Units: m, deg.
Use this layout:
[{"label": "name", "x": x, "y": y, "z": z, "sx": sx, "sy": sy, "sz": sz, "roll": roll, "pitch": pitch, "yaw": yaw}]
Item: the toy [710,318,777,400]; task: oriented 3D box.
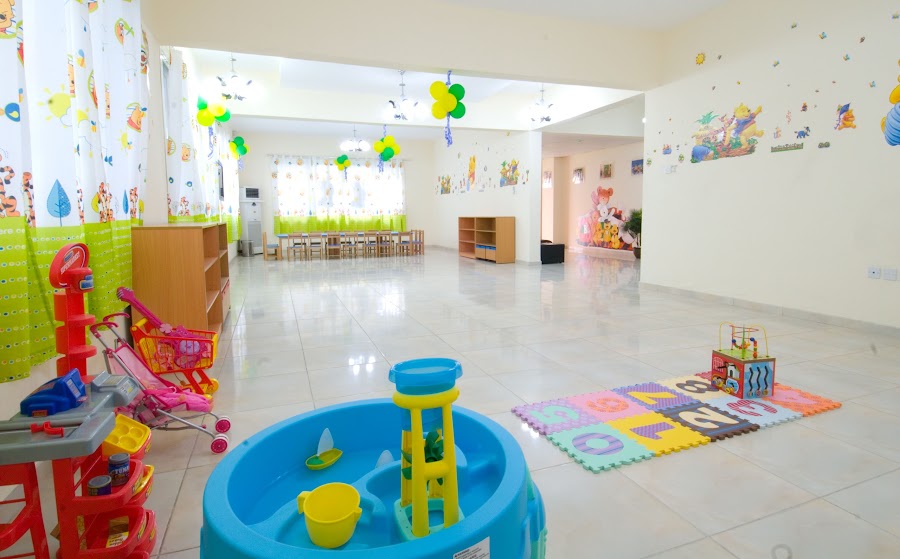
[{"label": "toy", "x": 2.593, "y": 0.720, "z": 4.657, "sx": 0.422, "sy": 0.639, "sz": 0.525, "roll": -1, "pitch": 3, "yaw": -27}]

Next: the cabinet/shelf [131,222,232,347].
[{"label": "cabinet/shelf", "x": -2.562, "y": 0.046, "z": 4.972, "sx": 0.371, "sy": 0.745, "sz": 1.261, "roll": -3, "pitch": 12, "yaw": -16}]

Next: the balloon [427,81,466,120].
[{"label": "balloon", "x": -0.047, "y": -2.641, "z": 7.935, "sx": 0.675, "sy": 0.686, "sz": 0.278, "roll": -4, "pitch": 14, "yaw": -7}]

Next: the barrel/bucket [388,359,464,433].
[{"label": "barrel/bucket", "x": -0.104, "y": 0.580, "z": 2.782, "sx": 0.373, "sy": 0.288, "sz": 0.376, "roll": -3, "pitch": 7, "yaw": 0}]

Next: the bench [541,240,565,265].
[{"label": "bench", "x": 2.306, "y": -0.635, "z": 12.093, "sx": 0.516, "sy": 0.397, "sz": 0.535, "roll": -2, "pitch": 6, "yaw": -9}]

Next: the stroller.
[{"label": "stroller", "x": -2.132, "y": 0.680, "z": 4.137, "sx": 1.174, "sy": 1.358, "sz": 0.857, "roll": 0, "pitch": 6, "yaw": -15}]

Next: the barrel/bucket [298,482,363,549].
[{"label": "barrel/bucket", "x": -0.666, "y": 1.266, "z": 2.843, "sx": 0.381, "sy": 0.246, "sz": 0.278, "roll": -1, "pitch": 13, "yaw": -2}]

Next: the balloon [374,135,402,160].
[{"label": "balloon", "x": -1.434, "y": -3.011, "z": 11.901, "sx": 0.461, "sy": 0.523, "sz": 1.122, "roll": -2, "pitch": 13, "yaw": -9}]
